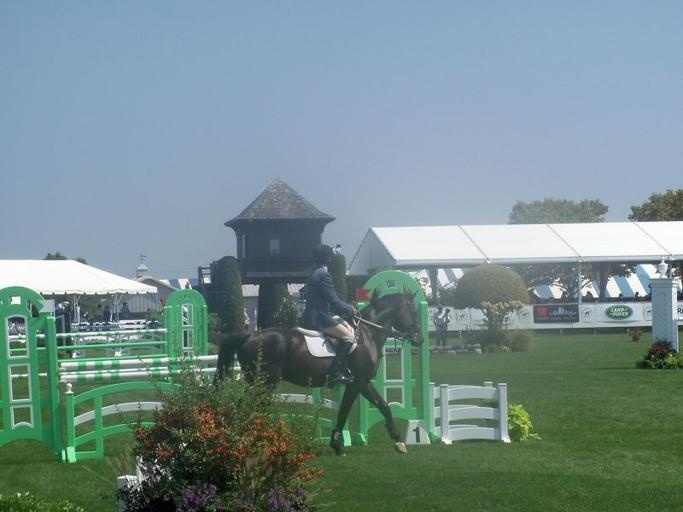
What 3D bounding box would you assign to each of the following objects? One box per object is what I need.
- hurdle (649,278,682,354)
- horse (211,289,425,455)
[{"bbox_3d":[8.343,1.525,29.883,0.736,1.661,0.730,2,0,15],"label":"hurdle"},{"bbox_3d":[-0.414,2.161,21.808,3.977,3.050,1.007,2,0,-13],"label":"horse"}]
